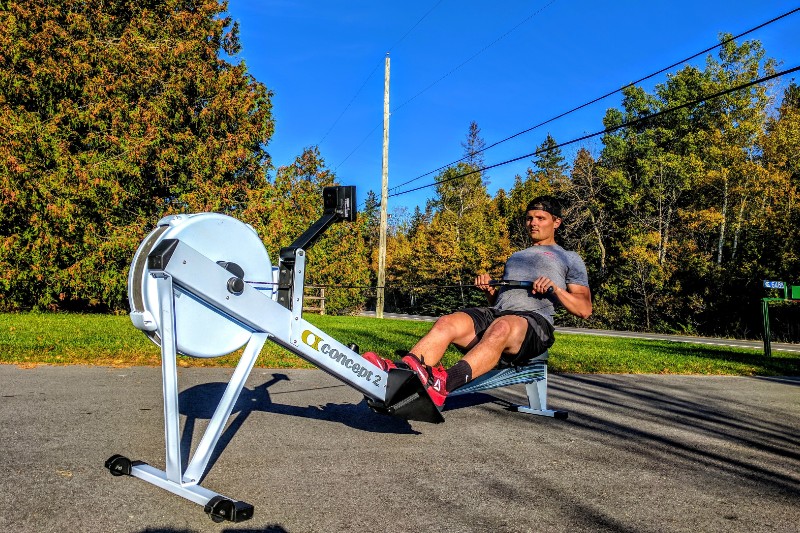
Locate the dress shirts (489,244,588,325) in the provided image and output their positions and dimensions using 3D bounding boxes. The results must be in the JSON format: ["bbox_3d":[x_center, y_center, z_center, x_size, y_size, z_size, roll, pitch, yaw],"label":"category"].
[{"bbox_3d":[1.719,0.183,7.697,1.269,1.187,0.719,4,-21,39],"label":"dress shirts"}]

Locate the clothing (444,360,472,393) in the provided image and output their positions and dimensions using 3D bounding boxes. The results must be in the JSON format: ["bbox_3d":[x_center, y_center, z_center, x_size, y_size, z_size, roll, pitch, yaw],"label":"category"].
[{"bbox_3d":[0.604,1.127,6.563,0.312,0.333,0.270,-9,3,-11],"label":"clothing"}]

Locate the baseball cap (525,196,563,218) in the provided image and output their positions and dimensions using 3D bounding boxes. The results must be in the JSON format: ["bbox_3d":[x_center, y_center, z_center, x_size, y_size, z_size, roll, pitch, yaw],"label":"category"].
[{"bbox_3d":[1.888,-0.820,7.965,0.281,0.315,0.377,10,15,41],"label":"baseball cap"}]

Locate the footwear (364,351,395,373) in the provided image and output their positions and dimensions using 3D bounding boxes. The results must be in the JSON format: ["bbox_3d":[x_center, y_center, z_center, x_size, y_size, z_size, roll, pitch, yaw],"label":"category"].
[{"bbox_3d":[-0.216,0.975,6.363,0.266,0.105,0.190,26,-1,-6],"label":"footwear"}]
